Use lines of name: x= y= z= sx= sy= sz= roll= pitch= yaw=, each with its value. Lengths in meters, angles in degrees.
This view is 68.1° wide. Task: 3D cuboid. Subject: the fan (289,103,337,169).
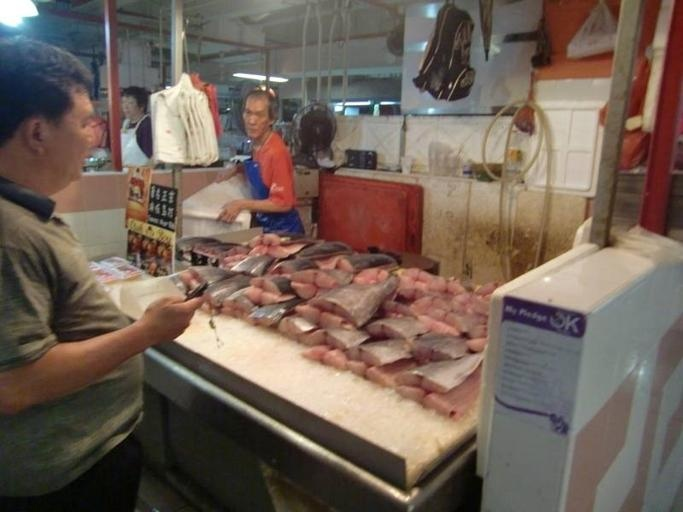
fan: x=-0.302 y=-1.434 z=5.942 sx=0.563 sy=0.644 sz=0.550 roll=-8 pitch=28 yaw=-4

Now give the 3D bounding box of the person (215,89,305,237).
person: x=-0.698 y=-0.801 z=4.486 sx=0.625 sy=1.297 sz=0.753 roll=0 pitch=13 yaw=1
